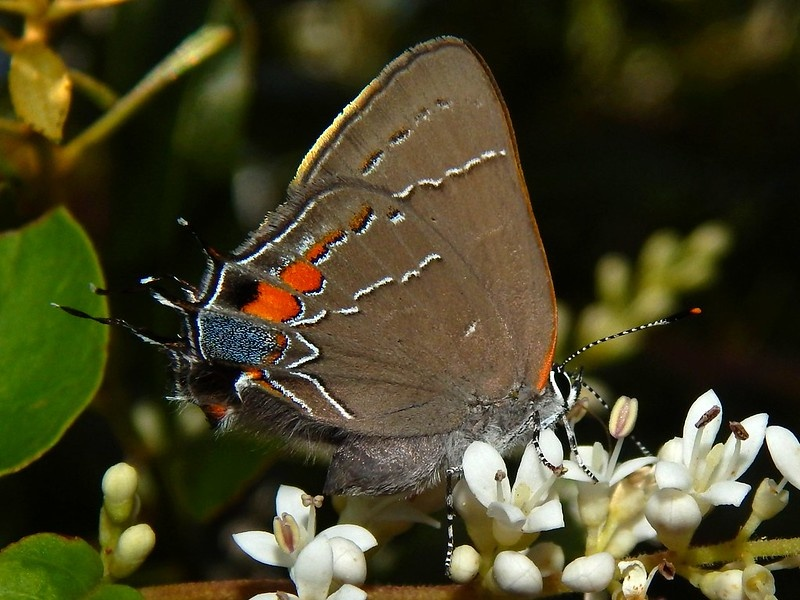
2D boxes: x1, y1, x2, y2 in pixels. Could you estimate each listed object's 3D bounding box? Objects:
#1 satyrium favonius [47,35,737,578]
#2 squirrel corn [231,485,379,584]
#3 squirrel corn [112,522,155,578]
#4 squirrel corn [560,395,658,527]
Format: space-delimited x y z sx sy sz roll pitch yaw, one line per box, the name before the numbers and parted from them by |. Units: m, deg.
satyrium favonius | -0.119 0.087 3.594 1.932 1.881 1.406 -14 18 -34
squirrel corn | -0.260 0.673 2.802 0.318 0.145 0.282 16 26 33
squirrel corn | -0.738 0.676 2.791 0.139 0.131 0.172 -7 8 -33
squirrel corn | 0.616 0.472 2.959 0.236 0.445 0.178 4 20 0
